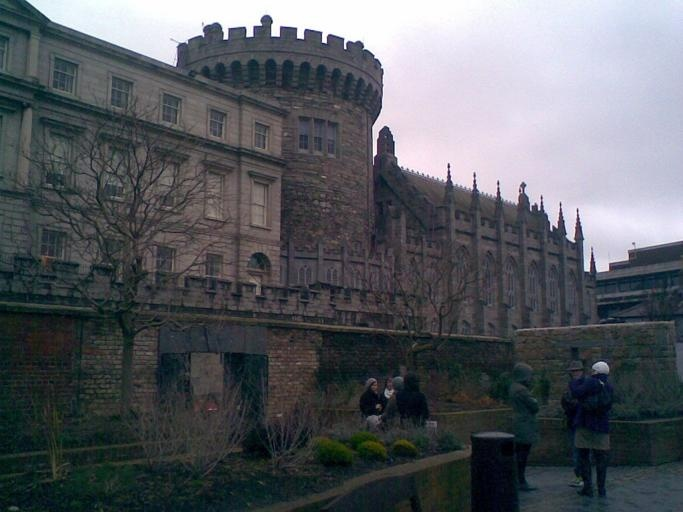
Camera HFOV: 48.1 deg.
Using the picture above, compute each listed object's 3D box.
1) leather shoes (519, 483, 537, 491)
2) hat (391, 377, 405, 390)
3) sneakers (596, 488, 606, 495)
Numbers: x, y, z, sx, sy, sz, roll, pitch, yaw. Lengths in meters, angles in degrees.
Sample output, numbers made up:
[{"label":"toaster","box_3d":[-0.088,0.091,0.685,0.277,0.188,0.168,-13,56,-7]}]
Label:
[{"label":"leather shoes","box_3d":[4.167,5.177,17.117,0.373,0.176,0.138,0,-4,8]},{"label":"hat","box_3d":[1.388,3.129,18.693,0.279,0.301,0.230,1,0,-21]},{"label":"sneakers","box_3d":[5.600,5.062,16.410,0.126,0.170,0.142,-2,-2,18]}]
